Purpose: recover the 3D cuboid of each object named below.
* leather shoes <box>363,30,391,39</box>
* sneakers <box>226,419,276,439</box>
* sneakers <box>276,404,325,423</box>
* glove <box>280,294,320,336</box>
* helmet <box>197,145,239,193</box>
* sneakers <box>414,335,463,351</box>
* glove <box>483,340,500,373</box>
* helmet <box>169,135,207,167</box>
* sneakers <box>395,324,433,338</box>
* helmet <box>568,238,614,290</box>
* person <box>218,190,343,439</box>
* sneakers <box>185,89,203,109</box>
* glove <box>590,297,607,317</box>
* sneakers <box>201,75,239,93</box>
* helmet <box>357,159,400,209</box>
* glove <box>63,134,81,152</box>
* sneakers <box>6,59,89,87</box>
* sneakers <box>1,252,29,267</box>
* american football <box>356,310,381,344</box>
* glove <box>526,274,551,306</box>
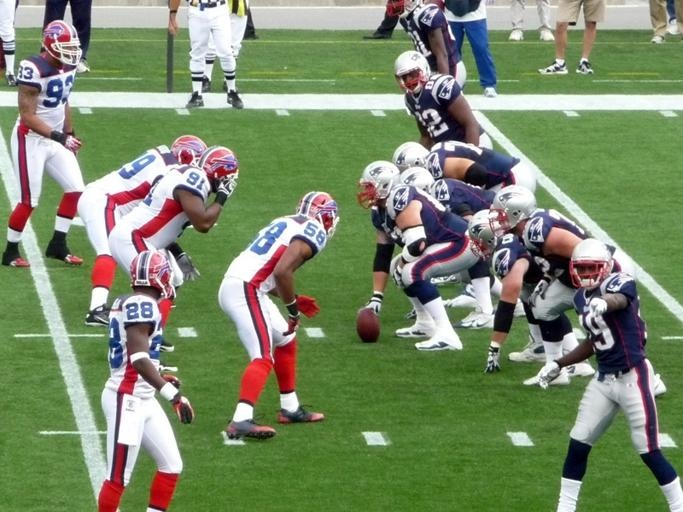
[{"bbox_3d":[0.563,-3.417,20.789,0.448,0.172,0.149,0,33,-2],"label":"leather shoes"},{"bbox_3d":[-0.604,1.158,9.076,0.350,0.165,0.128,0,-9,-4],"label":"sneakers"},{"bbox_3d":[-0.283,1.078,9.383,0.325,0.125,0.118,-1,2,-6],"label":"sneakers"},{"bbox_3d":[-0.295,0.381,9.295,0.256,0.249,0.078,-3,-27,-27],"label":"glove"},{"bbox_3d":[-0.861,-0.690,9.822,0.337,0.330,0.250,-3,30,-21],"label":"helmet"},{"bbox_3d":[0.762,0.669,10.476,0.381,0.152,0.130,2,3,-6],"label":"sneakers"},{"bbox_3d":[1.134,0.711,10.111,0.114,0.261,0.340,3,12,7],"label":"glove"},{"bbox_3d":[-1.112,-0.783,10.179,0.267,0.227,0.214,-16,-23,31],"label":"helmet"},{"bbox_3d":[0.577,0.576,10.687,0.330,0.129,0.109,2,4,1],"label":"sneakers"},{"bbox_3d":[1.568,0.031,8.560,0.235,0.260,0.323,-11,10,33],"label":"helmet"},{"bbox_3d":[-0.424,0.385,9.185,0.784,1.578,0.688,1,12,-7],"label":"person"},{"bbox_3d":[-1.646,-1.814,15.550,0.230,0.153,0.123,5,16,27],"label":"sneakers"},{"bbox_3d":[1.562,0.298,8.194,0.116,0.101,0.102,2,12,1],"label":"glove"},{"bbox_3d":[-1.476,-2.121,16.581,0.467,0.153,0.206,-2,-6,-1],"label":"sneakers"},{"bbox_3d":[0.274,-0.561,10.487,0.384,0.374,0.315,-2,6,-6],"label":"helmet"},{"bbox_3d":[-2.260,-0.958,11.355,0.127,0.153,0.207,0,12,-11],"label":"glove"},{"bbox_3d":[-2.451,-1.555,11.291,0.478,0.229,0.236,-1,12,-15],"label":"sneakers"},{"bbox_3d":[-2.780,0.019,11.628,0.225,0.109,0.222,-7,15,-38],"label":"sneakers"},{"bbox_3d":[0.207,0.524,10.488,0.181,0.274,0.209,2,12,0],"label":"american football"},{"bbox_3d":[1.447,0.240,9.842,0.057,0.214,0.135,30,15,-32],"label":"glove"}]
